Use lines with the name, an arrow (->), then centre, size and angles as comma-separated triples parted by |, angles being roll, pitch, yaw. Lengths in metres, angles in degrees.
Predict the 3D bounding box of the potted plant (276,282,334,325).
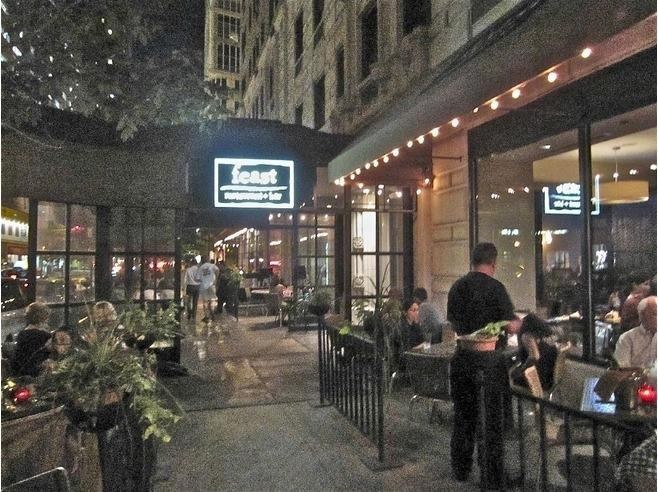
potted plant -> -0.219, 0.713, 6.712 | 0.622, 0.494, 0.661 | 1, -7, -14

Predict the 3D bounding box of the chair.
chair -> 1.054, 1.006, 4.383 | 0.902, 0.541, 0.672 | 1, -6, 19
